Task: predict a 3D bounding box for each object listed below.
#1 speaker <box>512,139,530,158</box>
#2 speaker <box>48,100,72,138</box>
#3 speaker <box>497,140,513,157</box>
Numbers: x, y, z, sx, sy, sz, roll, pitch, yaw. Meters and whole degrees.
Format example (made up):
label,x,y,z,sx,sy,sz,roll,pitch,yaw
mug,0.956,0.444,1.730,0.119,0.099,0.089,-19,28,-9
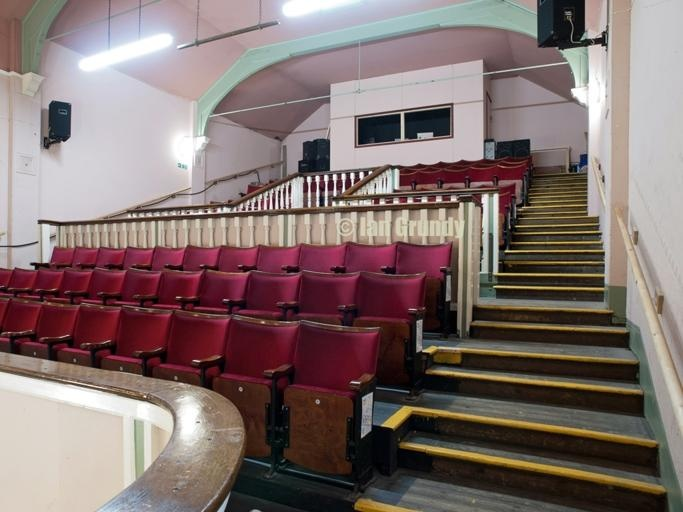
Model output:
label,x,y,z,sx,sy,sz,roll,pitch,yaw
speaker,3.542,-2.106,10.220,0.390,0.448,0.401,-2,10,5
speaker,-4.029,-1.932,7.302,0.293,0.554,0.236,1,-3,-23
speaker,3.201,-2.109,10.139,0.291,0.453,0.297,5,7,13
